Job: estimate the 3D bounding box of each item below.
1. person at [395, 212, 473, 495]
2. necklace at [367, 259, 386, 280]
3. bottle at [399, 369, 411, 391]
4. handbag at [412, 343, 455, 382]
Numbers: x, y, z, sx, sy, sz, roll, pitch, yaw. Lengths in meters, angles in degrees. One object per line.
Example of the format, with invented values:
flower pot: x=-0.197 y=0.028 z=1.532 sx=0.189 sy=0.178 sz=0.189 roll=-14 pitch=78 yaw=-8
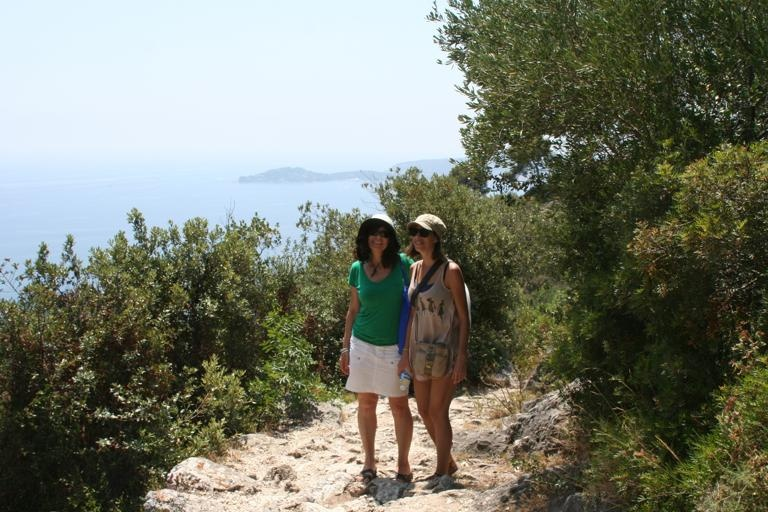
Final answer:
person: x=0.582 y=1.038 z=7.696 sx=0.719 sy=3.016 sz=0.412 roll=1 pitch=5 yaw=9
necklace: x=-0.110 y=0.161 z=7.822 sx=0.204 sy=0.232 sz=0.065 roll=-28 pitch=-21 yaw=16
bottle: x=0.223 y=1.394 z=7.664 sx=0.087 sy=0.094 sz=0.300 roll=-29 pitch=18 yaw=18
handbag: x=0.537 y=1.172 z=7.574 sx=0.486 sy=0.418 sz=0.143 roll=0 pitch=5 yaw=3
